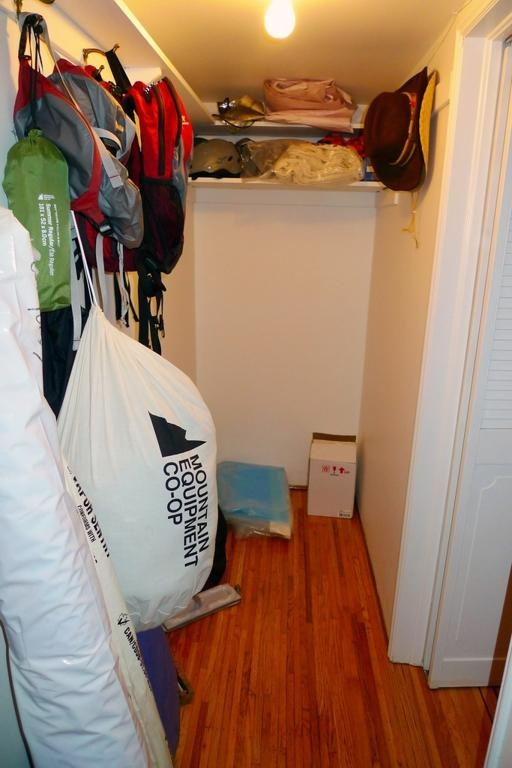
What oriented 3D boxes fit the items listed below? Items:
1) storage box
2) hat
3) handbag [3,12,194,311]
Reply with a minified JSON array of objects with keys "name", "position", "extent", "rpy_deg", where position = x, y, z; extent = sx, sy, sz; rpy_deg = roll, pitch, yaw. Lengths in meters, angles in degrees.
[{"name":"storage box","position":[0.427,0.544,3.069],"extent":[0.252,0.360,0.265],"rpy_deg":[4,13,14]},{"name":"hat","position":[0.457,-0.803,1.706],"extent":[0.115,0.366,0.276],"rpy_deg":[-6,36,-10]},{"name":"handbag","position":[-0.341,-0.471,1.199],"extent":[0.192,0.570,0.385],"rpy_deg":[-4,-4,7]}]
